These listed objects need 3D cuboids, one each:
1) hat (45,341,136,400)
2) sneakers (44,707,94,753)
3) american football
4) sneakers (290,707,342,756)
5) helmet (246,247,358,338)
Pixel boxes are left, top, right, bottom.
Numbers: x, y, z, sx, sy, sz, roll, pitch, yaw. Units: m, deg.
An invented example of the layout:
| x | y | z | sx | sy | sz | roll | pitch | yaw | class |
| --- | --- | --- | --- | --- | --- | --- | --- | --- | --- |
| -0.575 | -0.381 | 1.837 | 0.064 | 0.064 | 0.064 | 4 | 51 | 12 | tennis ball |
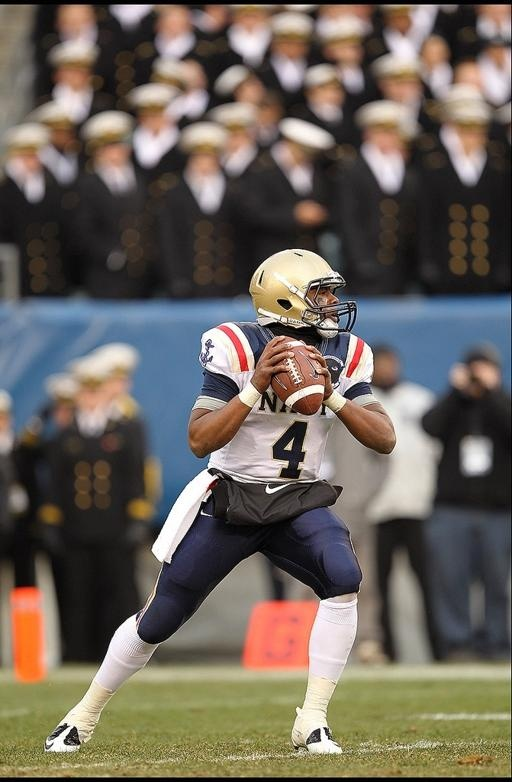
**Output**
| x | y | z | sx | sy | sz | roll | pitch | yaw | class |
| --- | --- | --- | --- | --- | --- | --- | --- | --- | --- |
| -0.802 | -0.105 | 5.381 | 0.415 | 0.227 | 0.136 | -20 | 89 | 6 | hat |
| -0.497 | 0.921 | 3.059 | 0.068 | 0.177 | 0.076 | 28 | 96 | 12 | sneakers |
| 0.096 | -0.045 | 2.894 | 0.140 | 0.145 | 0.200 | -22 | 85 | 7 | american football |
| 0.147 | 0.891 | 2.913 | 0.068 | 0.177 | 0.070 | 6 | 85 | -30 | sneakers |
| 0.171 | -0.283 | 3.110 | 0.324 | 0.218 | 0.221 | 2 | 92 | 16 | helmet |
